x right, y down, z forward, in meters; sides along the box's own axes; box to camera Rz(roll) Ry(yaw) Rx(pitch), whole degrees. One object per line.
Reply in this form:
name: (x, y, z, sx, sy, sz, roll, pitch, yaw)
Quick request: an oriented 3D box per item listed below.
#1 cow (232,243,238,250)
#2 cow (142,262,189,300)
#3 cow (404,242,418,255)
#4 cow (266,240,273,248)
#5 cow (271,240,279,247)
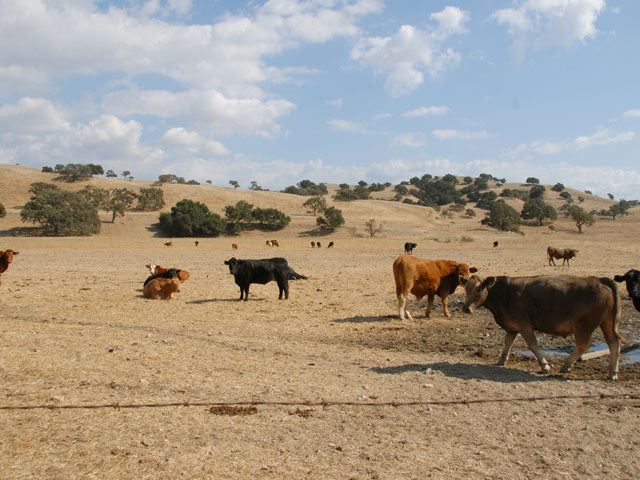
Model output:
cow: (-6.755, 0.554, 49.979, 0.380, 0.651, 1.206, -1, -6, -6)
cow: (-5.365, 1.484, 21.399, 0.822, 1.061, 1.929, 2, -13, -39)
cow: (6.401, 0.637, 44.728, 0.695, 0.991, 1.823, 5, 10, 29)
cow: (-4.551, 0.292, 55.706, 0.483, 0.799, 0.772, -1, -7, -2)
cow: (-3.982, 0.340, 55.325, 0.346, 0.775, 1.543, 1, -5, 14)
